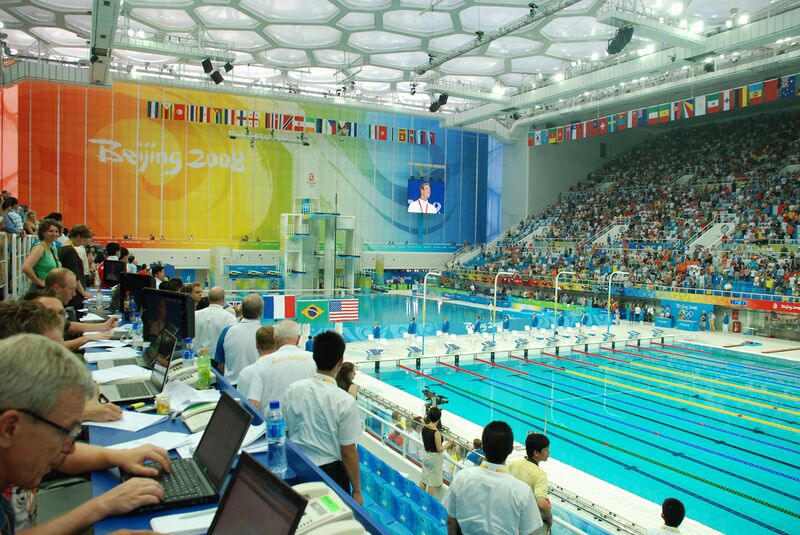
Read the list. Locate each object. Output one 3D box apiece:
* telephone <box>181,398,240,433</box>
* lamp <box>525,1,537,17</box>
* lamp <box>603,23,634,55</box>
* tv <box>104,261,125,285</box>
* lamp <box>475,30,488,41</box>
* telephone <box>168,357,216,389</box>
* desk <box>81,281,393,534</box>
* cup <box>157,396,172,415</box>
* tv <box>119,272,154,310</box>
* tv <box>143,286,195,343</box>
[{"bbox_3d":[-2.819,2.305,10.162,0.588,0.245,0.793,-8,33,48],"label":"telephone"},{"bbox_3d":[4.735,-9.193,23.590,0.314,0.553,1.071,3,13,8],"label":"lamp"},{"bbox_3d":[7.281,-7.534,21.899,0.653,0.915,0.716,6,15,20],"label":"lamp"},{"bbox_3d":[-7.186,0.139,16.692,0.614,0.595,0.310,2,0,6],"label":"tv"},{"bbox_3d":[3.075,-8.886,25.471,0.426,0.179,0.586,1,6,-9],"label":"lamp"},{"bbox_3d":[-3.367,1.766,10.813,0.604,0.236,0.590,-3,24,-36],"label":"telephone"},{"bbox_3d":[-2.456,2.044,8.904,1.955,1.114,4.573,-15,29,-34],"label":"desk"},{"bbox_3d":[-3.632,2.113,10.202,0.252,0.261,0.239,1,5,0],"label":"cup"},{"bbox_3d":[-5.230,0.488,13.159,0.765,0.686,0.252,2,5,38],"label":"tv"},{"bbox_3d":[-4.066,0.869,11.647,1.502,0.933,0.214,2,5,43],"label":"tv"}]
